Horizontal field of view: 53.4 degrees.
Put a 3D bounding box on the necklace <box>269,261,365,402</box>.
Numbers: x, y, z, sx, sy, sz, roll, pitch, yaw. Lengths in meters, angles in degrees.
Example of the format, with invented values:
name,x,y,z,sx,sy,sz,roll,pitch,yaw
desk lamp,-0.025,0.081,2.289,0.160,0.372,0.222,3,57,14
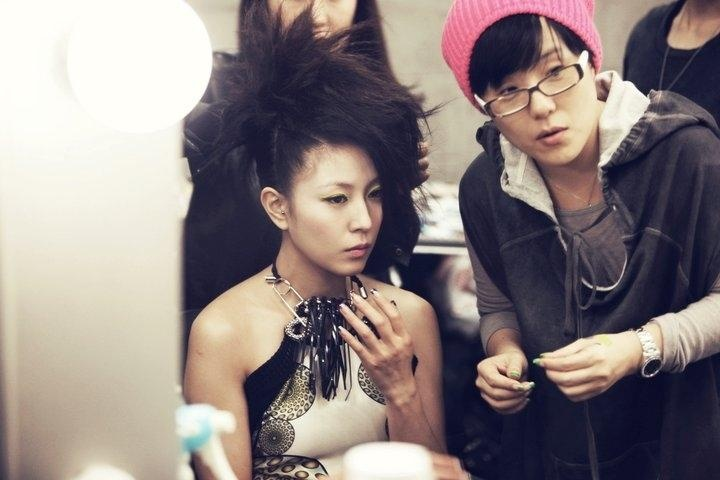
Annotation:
name,x,y,z,sx,sy,sz,roll,pitch,yaw
necklace,-0.097,0.221,1.725,0.189,0.285,0.082,-16,-16,-7

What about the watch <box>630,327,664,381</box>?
name,x,y,z,sx,sy,sz,roll,pitch,yaw
watch,0.651,0.248,1.610,0.052,0.093,0.030,-11,-7,9

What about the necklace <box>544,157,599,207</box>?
name,x,y,z,sx,sy,sz,roll,pitch,yaw
necklace,0.526,-0.143,1.761,0.091,0.086,0.115,-16,14,15
